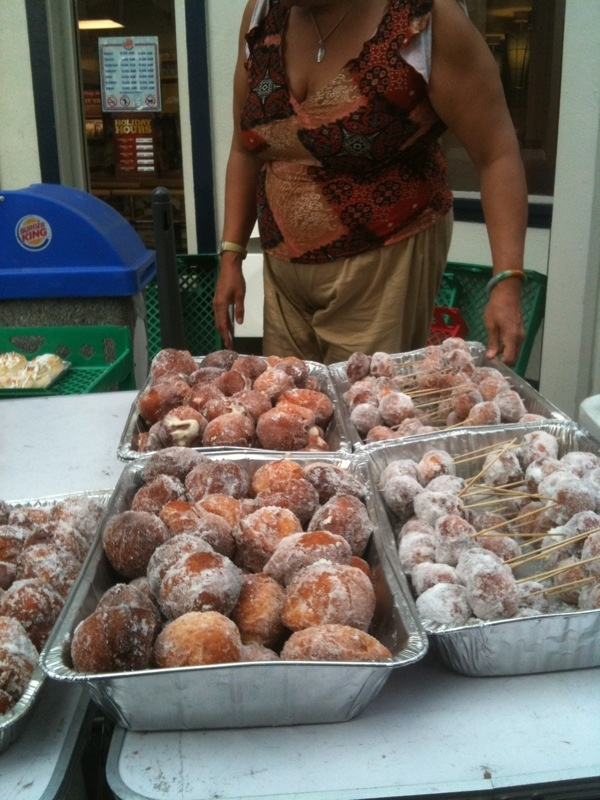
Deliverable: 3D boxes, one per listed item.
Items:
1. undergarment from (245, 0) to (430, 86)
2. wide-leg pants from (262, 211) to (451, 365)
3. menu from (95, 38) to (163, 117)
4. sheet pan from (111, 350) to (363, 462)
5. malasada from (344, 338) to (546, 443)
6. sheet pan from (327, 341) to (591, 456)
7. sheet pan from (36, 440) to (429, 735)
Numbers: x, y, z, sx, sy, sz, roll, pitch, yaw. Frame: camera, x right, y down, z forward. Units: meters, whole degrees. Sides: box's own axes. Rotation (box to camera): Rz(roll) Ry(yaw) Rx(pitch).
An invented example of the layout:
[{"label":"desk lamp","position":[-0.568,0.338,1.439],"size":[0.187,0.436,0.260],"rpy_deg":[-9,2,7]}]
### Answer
[{"label":"undergarment","position":[0.078,-0.917,1.652],"size":[0.556,0.245,0.074],"rpy_deg":[17,27,40]},{"label":"wide-leg pants","position":[0.155,-0.323,1.832],"size":[0.315,0.410,0.238],"rpy_deg":[23,36,31]},{"label":"menu","position":[-1.016,-1.951,3.903],"size":[0.483,0.476,0.045],"rpy_deg":[3,21,3]},{"label":"sheet pan","position":[-0.138,0.013,1.392],"size":[0.330,0.094,0.301],"rpy_deg":[2,24,-2]},{"label":"malasada","position":[0.302,-0.014,1.577],"size":[0.298,0.085,0.282],"rpy_deg":[-12,30,-8]},{"label":"sheet pan","position":[0.323,-0.024,1.599],"size":[0.363,0.091,0.341],"rpy_deg":[-10,30,-9]},{"label":"sheet pan","position":[-0.074,0.242,0.861],"size":[0.422,0.126,0.448],"rpy_deg":[-1,19,-3]}]
